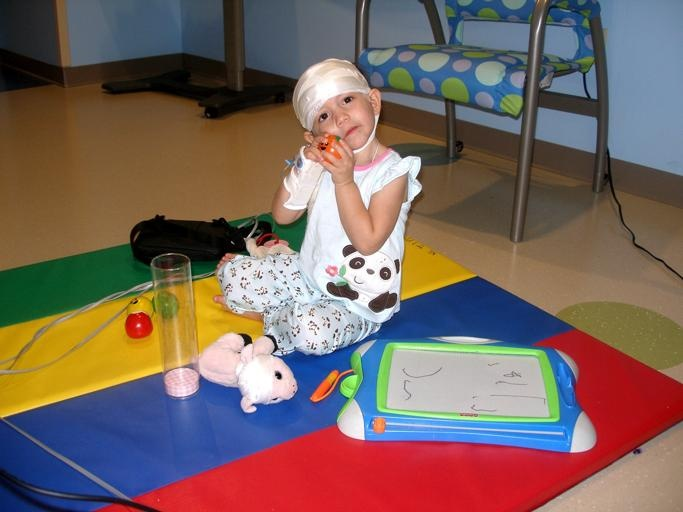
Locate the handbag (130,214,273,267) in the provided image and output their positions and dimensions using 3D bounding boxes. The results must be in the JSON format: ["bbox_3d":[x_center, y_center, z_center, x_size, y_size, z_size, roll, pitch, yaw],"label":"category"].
[{"bbox_3d":[-0.457,-0.063,1.680,0.296,0.120,0.201,-1,29,-8],"label":"handbag"}]

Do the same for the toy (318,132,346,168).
[{"bbox_3d":[-0.022,-0.226,1.187,0.050,0.055,0.066,-24,68,15],"label":"toy"}]
